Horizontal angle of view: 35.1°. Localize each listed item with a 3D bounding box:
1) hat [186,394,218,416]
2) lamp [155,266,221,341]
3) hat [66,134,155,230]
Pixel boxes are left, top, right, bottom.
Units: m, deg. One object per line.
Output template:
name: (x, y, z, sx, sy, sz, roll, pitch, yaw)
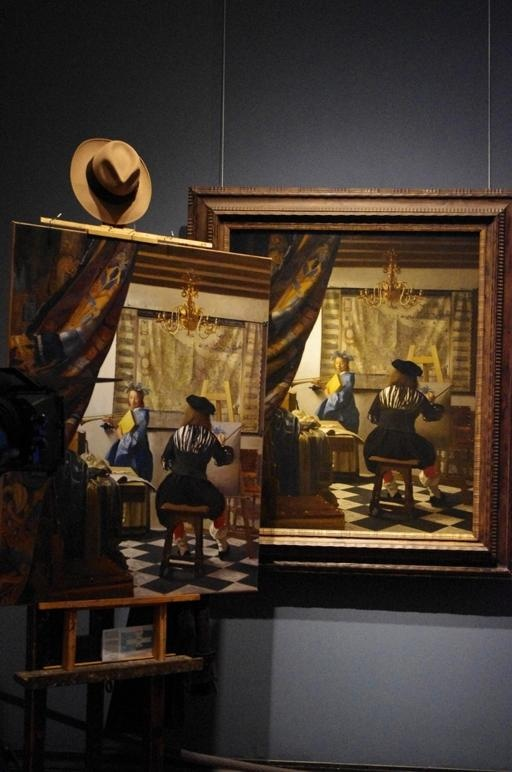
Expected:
hat: (-0.196, 0.071, 2.908, 0.086, 0.026, 0.064, 41, 28, 4)
lamp: (-0.223, -0.296, 2.877, 0.205, 0.234, 0.200, 2, -8, -1)
hat: (-0.560, -0.725, 3.014, 0.316, 0.341, 0.122, -28, 17, -27)
